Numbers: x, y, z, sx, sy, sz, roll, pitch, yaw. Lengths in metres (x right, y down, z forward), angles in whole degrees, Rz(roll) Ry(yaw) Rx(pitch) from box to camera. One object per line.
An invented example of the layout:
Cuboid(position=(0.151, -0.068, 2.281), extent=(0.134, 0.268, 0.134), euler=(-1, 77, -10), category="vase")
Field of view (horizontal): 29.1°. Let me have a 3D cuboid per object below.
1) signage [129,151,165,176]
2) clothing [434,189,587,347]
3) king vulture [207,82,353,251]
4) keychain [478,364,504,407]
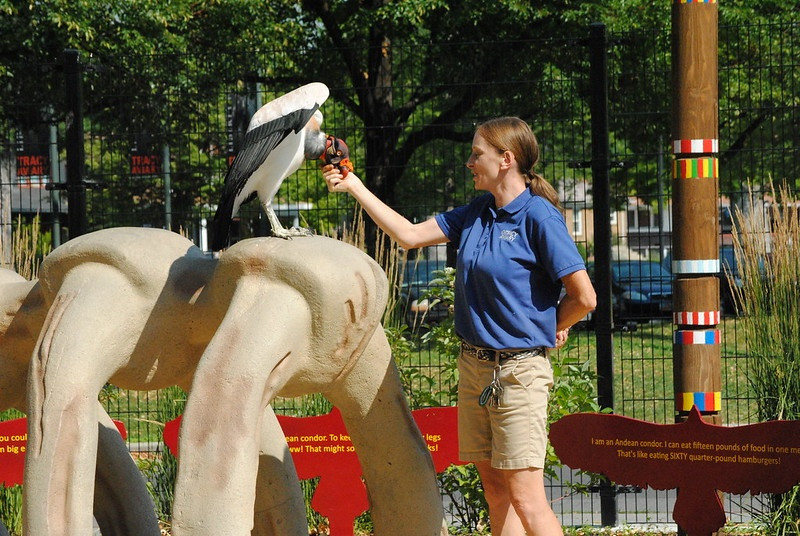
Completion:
Cuboid(position=(-2.352, -1.000, 14.448), extent=(0.224, 0.174, 0.012), euler=(-1, 27, 8), category="signage")
Cuboid(position=(0.815, 0.023, 11.523), extent=(0.665, 1.177, 1.305), euler=(3, 0, -39), category="clothing")
Cuboid(position=(-0.905, -0.764, 11.620), extent=(1.116, 1.253, 0.664), euler=(-2, -15, -5), category="king vulture")
Cuboid(position=(0.680, 0.880, 11.298), extent=(0.151, 0.377, 0.055), euler=(-1, -39, 13), category="keychain")
